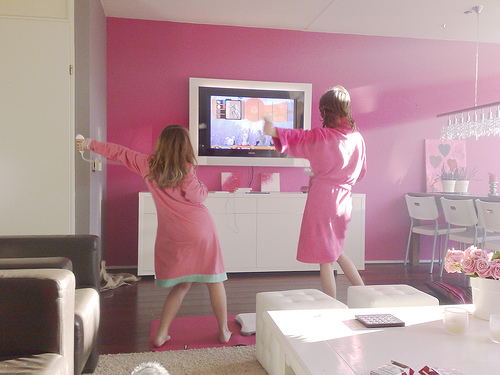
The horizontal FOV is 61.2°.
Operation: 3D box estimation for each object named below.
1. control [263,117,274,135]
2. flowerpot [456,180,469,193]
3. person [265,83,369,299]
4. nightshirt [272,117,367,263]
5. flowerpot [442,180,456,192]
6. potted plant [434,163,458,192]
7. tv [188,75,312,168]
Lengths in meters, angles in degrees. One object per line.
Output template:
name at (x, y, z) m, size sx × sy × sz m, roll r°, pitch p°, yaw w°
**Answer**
control at (0.114, -0.430, 2.941) m, size 0.080 × 0.080 × 0.083 m, roll -18°, pitch -26°, yaw 41°
flowerpot at (2.680, -0.009, 5.371) m, size 0.133 × 0.151 × 0.127 m, roll -2°, pitch 7°, yaw -4°
person at (0.555, 0.031, 3.275) m, size 0.821 × 1.606 × 0.354 m, roll 0°, pitch 5°, yaw -8°
nightshirt at (0.513, 0.023, 3.215) m, size 0.710 × 1.109 × 0.195 m, roll -2°, pitch 5°, yaw -25°
flowerpot at (2.564, -0.017, 5.473) m, size 0.133 × 0.119 × 0.131 m, roll 1°, pitch 1°, yaw -13°
potted plant at (2.603, -0.128, 5.576) m, size 0.246 × 0.369 × 0.285 m, roll -2°, pitch 6°, yaw -31°
tv at (-0.074, -0.777, 4.875) m, size 1.126 × 0.887 × 0.126 m, roll 0°, pitch 2°, yaw -9°
